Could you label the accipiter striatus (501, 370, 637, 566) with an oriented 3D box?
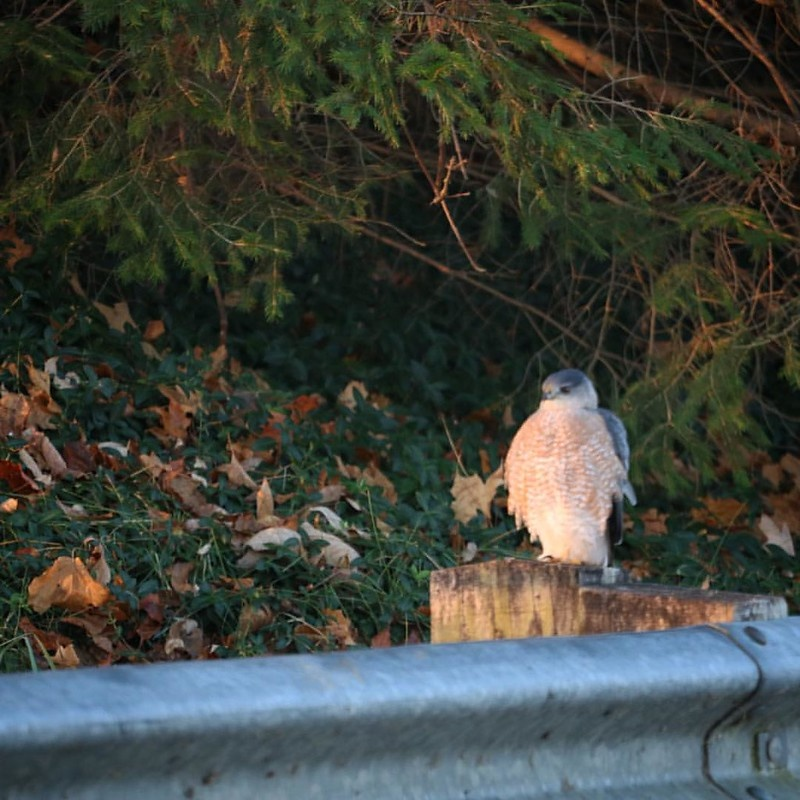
[{"bbox_3d":[0.637,0.276,6.071,0.479,0.770,0.311,1,12,2],"label":"accipiter striatus"}]
